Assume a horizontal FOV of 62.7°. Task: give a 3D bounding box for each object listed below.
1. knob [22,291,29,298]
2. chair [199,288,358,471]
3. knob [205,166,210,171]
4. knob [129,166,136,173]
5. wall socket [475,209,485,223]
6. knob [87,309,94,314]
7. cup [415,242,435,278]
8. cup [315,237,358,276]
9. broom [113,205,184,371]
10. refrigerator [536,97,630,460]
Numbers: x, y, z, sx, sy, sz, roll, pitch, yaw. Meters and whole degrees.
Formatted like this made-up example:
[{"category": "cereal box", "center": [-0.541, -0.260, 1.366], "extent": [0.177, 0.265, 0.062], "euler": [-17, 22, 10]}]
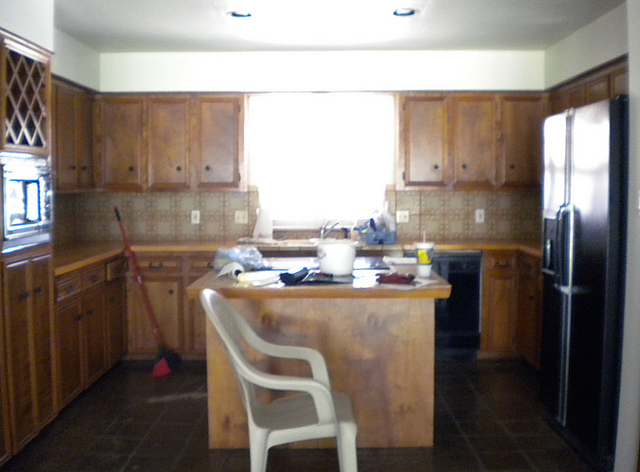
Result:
[{"category": "knob", "center": [-1.843, 0.366, 3.286], "extent": [0.049, 0.037, 0.027], "euler": [-1, -1, -19]}, {"category": "chair", "center": [-0.218, 0.731, 2.710], "extent": [0.709, 0.970, 0.445], "euler": [-5, 8, -13]}, {"category": "knob", "center": [-1.050, -0.628, 4.874], "extent": [0.033, 0.038, 0.015], "euler": [4, 5, -7]}, {"category": "knob", "center": [-1.741, -0.612, 4.857], "extent": [0.052, 0.050, 0.013], "euler": [1, -4, -3]}, {"category": "wall socket", "center": [1.571, -0.195, 5.202], "extent": [0.090, 0.132, 0.020], "euler": [-4, 7, -5]}, {"category": "knob", "center": [-1.770, 0.579, 4.024], "extent": [0.049, 0.021, 0.070], "euler": [0, 2, -7]}, {"category": "cup", "center": [0.629, 0.158, 3.359], "extent": [0.180, 0.250, 0.182], "euler": [0, 2, 0]}, {"category": "cup", "center": [0.101, 0.131, 3.272], "extent": [0.226, 0.167, 0.210], "euler": [-1, 2, 0]}, {"category": "broom", "center": [-1.464, 0.507, 4.458], "extent": [0.460, 1.248, 0.321], "euler": [-4, 7, -1]}, {"category": "refrigerator", "center": [1.659, 0.238, 3.346], "extent": [0.303, 2.120, 0.690], "euler": [-4, 7, -5]}]
